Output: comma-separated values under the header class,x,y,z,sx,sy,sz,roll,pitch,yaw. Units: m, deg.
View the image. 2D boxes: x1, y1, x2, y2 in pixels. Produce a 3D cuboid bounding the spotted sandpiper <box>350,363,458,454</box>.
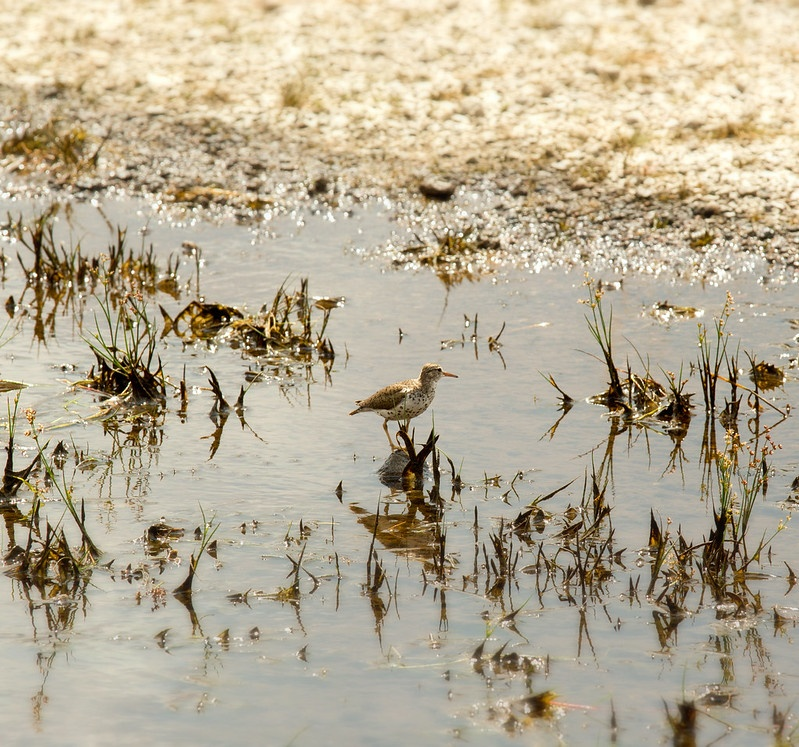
class,x,y,z,sx,sy,sz,roll,pitch,yaw
spotted sandpiper,0.022,0.245,9.081,0.930,0.595,0.458,4,0,38
